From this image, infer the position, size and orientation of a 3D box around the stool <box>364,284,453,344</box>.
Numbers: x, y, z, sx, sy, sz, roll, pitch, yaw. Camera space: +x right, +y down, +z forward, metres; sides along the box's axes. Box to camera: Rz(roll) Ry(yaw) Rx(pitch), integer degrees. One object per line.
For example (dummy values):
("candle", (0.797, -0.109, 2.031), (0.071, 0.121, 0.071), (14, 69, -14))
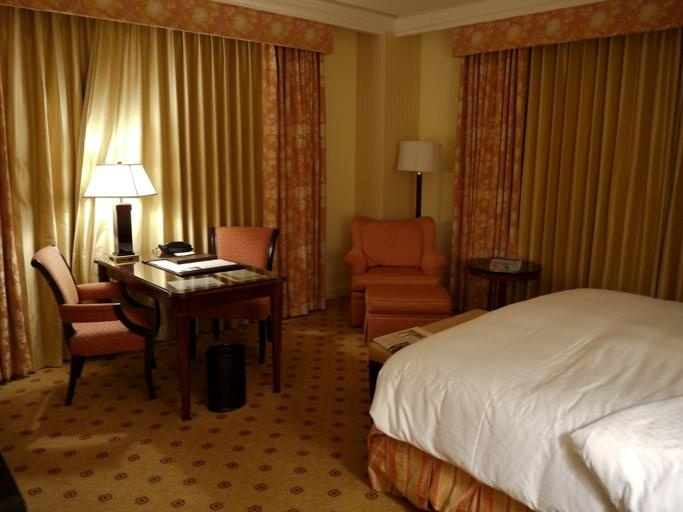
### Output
("stool", (0.560, 0.478, 5.039), (0.804, 0.405, 0.525), (0, 10, -3))

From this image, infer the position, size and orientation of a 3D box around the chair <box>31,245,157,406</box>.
("chair", (-1.868, 0.470, 4.328), (0.883, 0.939, 0.745), (-1, 12, -16))

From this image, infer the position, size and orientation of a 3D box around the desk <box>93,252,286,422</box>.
("desk", (-1.087, 0.573, 4.425), (0.933, 1.021, 1.065), (-10, 15, -39))

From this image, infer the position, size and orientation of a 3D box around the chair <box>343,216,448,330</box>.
("chair", (0.564, 0.129, 5.914), (1.103, 1.004, 0.943), (5, 14, 14))

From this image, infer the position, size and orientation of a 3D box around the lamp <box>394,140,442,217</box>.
("lamp", (0.873, -0.871, 6.297), (0.481, 0.858, 0.563), (1, 13, 7))

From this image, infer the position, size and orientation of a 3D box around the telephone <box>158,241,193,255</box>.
("telephone", (-1.377, -0.063, 4.738), (0.207, 0.059, 0.150), (-5, 9, -37))
